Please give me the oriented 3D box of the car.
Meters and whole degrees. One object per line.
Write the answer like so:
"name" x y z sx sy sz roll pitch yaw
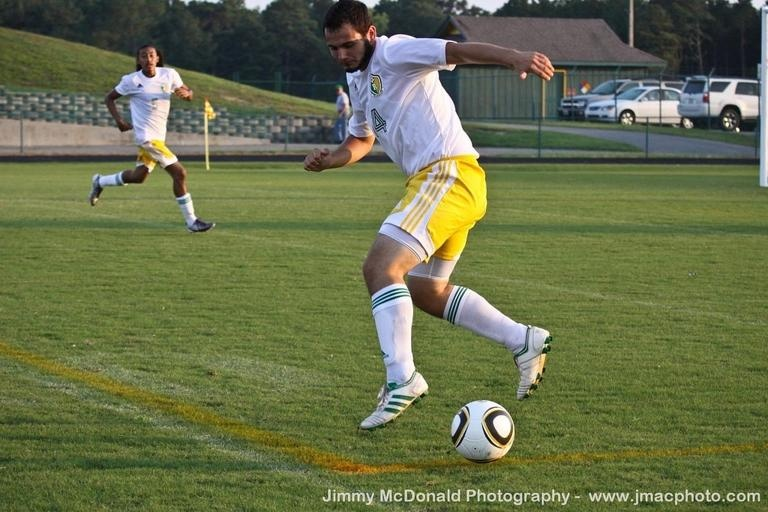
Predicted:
"car" 9.702 -5.363 40.013 6.298 2.138 2.460 0 3 4

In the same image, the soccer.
"soccer" 1.090 1.953 13.081 0.886 0.567 0.834 0 0 3
